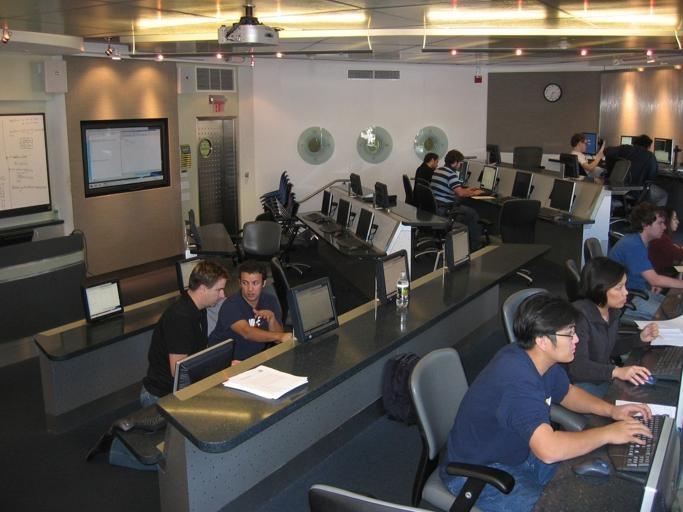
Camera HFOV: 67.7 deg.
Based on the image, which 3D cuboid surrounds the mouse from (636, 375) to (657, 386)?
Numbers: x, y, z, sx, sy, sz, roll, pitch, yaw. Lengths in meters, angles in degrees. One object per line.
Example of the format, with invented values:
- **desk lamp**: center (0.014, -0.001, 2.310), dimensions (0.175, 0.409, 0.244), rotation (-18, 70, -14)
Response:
- **mouse**: center (1.801, 0.723, 3.007), dimensions (0.082, 0.028, 0.046), rotation (-21, 22, -15)

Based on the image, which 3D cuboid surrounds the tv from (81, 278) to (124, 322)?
- **tv**: center (-2.135, 0.406, 4.719), dimensions (0.374, 0.346, 0.223), rotation (-14, -11, 8)

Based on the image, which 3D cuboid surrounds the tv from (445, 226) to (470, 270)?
- **tv**: center (1.207, -0.067, 5.310), dimensions (0.131, 0.479, 0.502), rotation (-5, -1, 31)

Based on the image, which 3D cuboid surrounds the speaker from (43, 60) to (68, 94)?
- **speaker**: center (-3.919, -2.468, 6.889), dimensions (0.239, 0.446, 0.319), rotation (28, 30, 19)

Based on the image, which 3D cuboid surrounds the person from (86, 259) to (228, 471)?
- **person**: center (-1.325, 0.865, 3.844), dimensions (1.127, 1.738, 0.570), rotation (-2, 27, -38)

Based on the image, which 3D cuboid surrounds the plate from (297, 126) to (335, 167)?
- **plate**: center (-0.575, -2.487, 11.395), dimensions (0.797, 0.811, 0.214), rotation (-8, 16, -24)

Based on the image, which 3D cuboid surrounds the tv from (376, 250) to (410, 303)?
- **tv**: center (0.490, 0.179, 4.319), dimensions (0.117, 0.392, 0.444), rotation (-7, -8, -26)

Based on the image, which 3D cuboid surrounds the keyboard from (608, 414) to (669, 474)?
- **keyboard**: center (1.354, 0.907, 2.363), dimensions (0.260, 0.515, 0.050), rotation (-18, 38, -4)

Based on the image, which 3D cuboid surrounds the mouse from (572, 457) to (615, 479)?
- **mouse**: center (1.135, 0.948, 2.299), dimensions (0.119, 0.040, 0.079), rotation (0, 11, 19)

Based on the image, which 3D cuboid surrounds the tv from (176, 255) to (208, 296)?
- **tv**: center (-1.513, 0.110, 5.074), dimensions (0.131, 0.237, 0.249), rotation (26, 27, 39)

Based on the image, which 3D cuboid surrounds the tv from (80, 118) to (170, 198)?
- **tv**: center (-3.454, -1.564, 8.011), dimensions (0.128, 0.936, 1.305), rotation (12, 17, 38)

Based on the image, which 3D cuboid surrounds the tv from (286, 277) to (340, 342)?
- **tv**: center (-0.208, 0.387, 3.686), dimensions (0.136, 0.375, 0.395), rotation (0, 10, 42)

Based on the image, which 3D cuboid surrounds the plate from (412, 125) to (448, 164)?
- **plate**: center (2.149, -2.694, 12.350), dimensions (0.834, 0.850, 0.187), rotation (-5, 9, -26)

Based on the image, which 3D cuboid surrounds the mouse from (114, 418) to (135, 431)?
- **mouse**: center (-1.506, 1.167, 3.538), dimensions (0.083, 0.025, 0.095), rotation (13, 17, 16)
